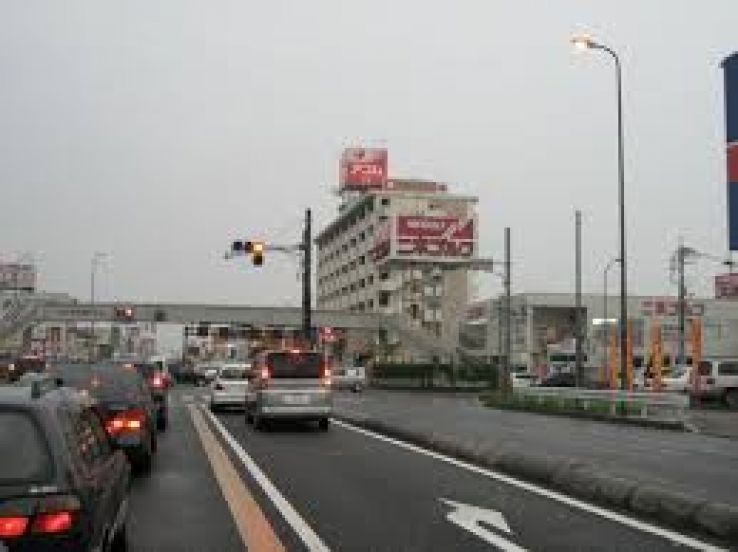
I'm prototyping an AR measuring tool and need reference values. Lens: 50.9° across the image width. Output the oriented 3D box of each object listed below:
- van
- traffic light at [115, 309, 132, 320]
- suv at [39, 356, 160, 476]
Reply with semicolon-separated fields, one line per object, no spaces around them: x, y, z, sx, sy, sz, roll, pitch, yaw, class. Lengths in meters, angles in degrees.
-1.983;2.814;19.345;1.937;1.968;1.873;-1;-6;-7;van
-16.596;2.587;52.577;0.590;0.876;0.924;-6;0;0;traffic light
-3.953;2.198;11.906;1.287;1.215;3.287;1;-2;-9;suv
